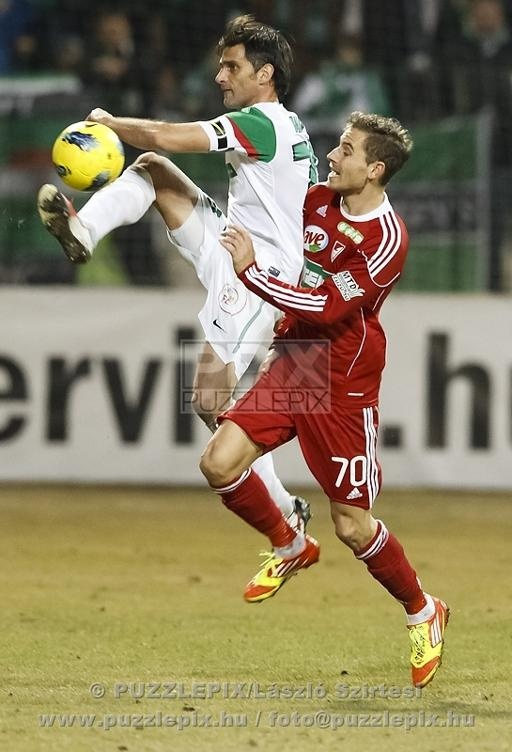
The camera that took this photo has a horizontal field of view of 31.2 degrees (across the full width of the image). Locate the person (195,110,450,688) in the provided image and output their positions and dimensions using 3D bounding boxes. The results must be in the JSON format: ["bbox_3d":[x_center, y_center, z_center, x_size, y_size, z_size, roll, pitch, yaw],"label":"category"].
[{"bbox_3d":[0.209,0.105,3.084,0.750,1.890,0.576,-4,7,9],"label":"person"}]

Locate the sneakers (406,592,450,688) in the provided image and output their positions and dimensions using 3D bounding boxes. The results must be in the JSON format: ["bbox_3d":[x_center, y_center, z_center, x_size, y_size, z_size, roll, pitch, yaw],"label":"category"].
[{"bbox_3d":[0.564,0.882,3.059,0.140,0.300,0.107,32,-43,-20],"label":"sneakers"}]
